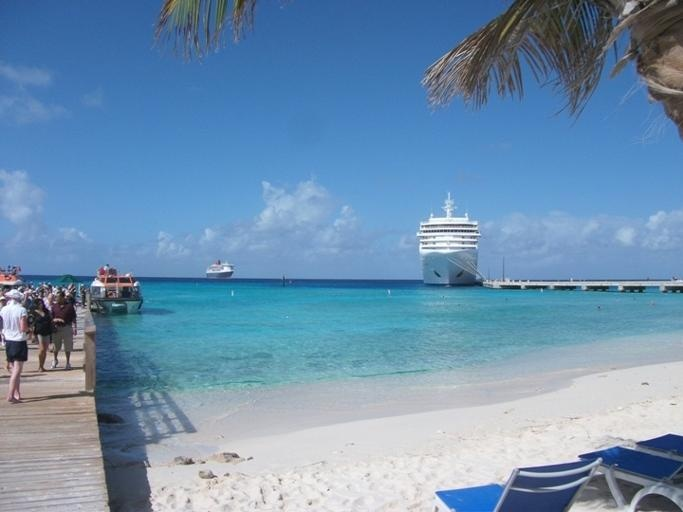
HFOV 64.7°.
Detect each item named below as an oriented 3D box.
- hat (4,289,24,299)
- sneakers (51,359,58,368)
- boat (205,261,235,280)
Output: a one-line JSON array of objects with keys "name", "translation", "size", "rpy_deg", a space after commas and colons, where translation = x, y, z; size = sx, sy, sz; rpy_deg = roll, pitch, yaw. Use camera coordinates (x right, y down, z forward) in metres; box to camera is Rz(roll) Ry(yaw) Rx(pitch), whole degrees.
[{"name": "hat", "translation": [-5.651, 0.668, 9.373], "size": [0.297, 0.183, 0.396], "rpy_deg": [4, 0, -39]}, {"name": "sneakers", "translation": [-6.370, 2.384, 12.002], "size": [0.141, 0.155, 0.406], "rpy_deg": [3, -6, -21]}, {"name": "boat", "translation": [-39.124, 4.706, 174.204], "size": [7.668, 4.059, 4.828], "rpy_deg": [-2, -3, 43]}]
